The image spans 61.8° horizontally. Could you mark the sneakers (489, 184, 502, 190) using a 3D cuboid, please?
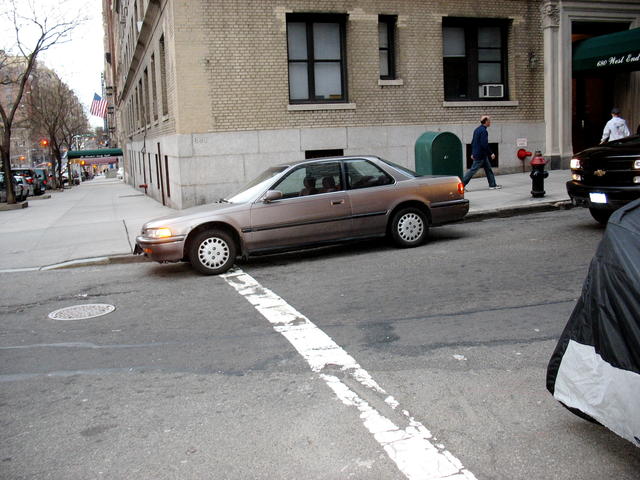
[{"bbox_3d":[5.471,-1.626,16.620,0.403,0.205,0.169,-5,19,-13],"label":"sneakers"}]

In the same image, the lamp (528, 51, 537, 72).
[{"bbox_3d":[8.205,-6.893,20.593,0.467,0.830,0.250,-9,12,-34],"label":"lamp"}]

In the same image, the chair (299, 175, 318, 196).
[{"bbox_3d":[-0.197,-1.001,9.866,0.287,0.585,0.356,0,3,9],"label":"chair"}]

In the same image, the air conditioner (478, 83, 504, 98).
[{"bbox_3d":[6.597,-5.697,20.554,1.120,0.570,0.237,-8,11,-25],"label":"air conditioner"}]
